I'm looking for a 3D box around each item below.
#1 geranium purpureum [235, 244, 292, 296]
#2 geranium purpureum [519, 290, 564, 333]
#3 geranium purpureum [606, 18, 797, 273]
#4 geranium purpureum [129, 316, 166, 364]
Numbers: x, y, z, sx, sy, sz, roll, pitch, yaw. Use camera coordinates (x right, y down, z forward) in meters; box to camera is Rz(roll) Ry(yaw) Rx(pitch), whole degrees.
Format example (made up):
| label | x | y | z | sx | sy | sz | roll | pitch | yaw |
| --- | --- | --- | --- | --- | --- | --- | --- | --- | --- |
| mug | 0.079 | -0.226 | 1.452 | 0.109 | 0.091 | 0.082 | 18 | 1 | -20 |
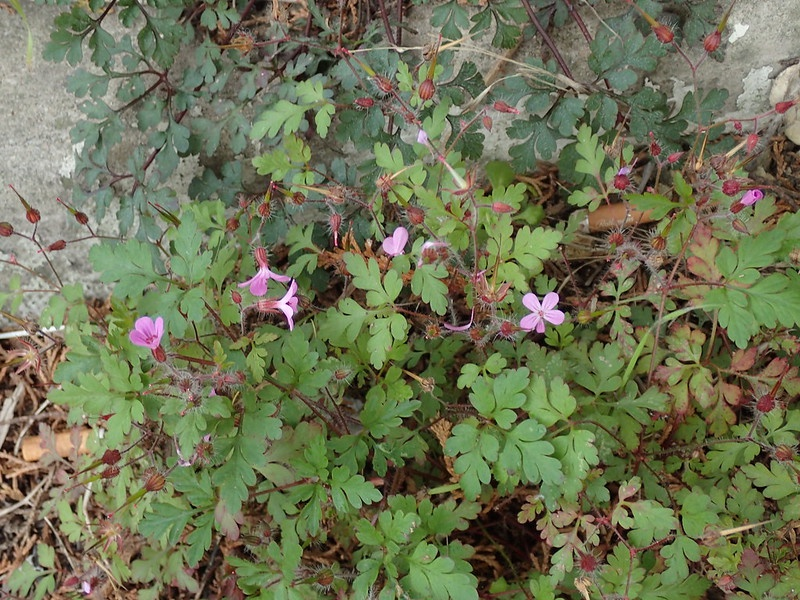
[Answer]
| label | x | y | z | sx | sy | sz | roll | pitch | yaw |
| --- | --- | --- | --- | --- | --- | --- | --- | --- | --- |
| geranium purpureum | -0.731 | -0.140 | 3.921 | 0.244 | 0.113 | 0.280 | -16 | 71 | -4 |
| geranium purpureum | 0.728 | 0.053 | 3.861 | 0.221 | 0.219 | 0.183 | -6 | 65 | 11 |
| geranium purpureum | 1.652 | -0.933 | 4.216 | 1.006 | 0.294 | 1.286 | 27 | 95 | 7 |
| geranium purpureum | -1.189 | 0.188 | 3.584 | 0.171 | 0.178 | 0.228 | -11 | 95 | 9 |
